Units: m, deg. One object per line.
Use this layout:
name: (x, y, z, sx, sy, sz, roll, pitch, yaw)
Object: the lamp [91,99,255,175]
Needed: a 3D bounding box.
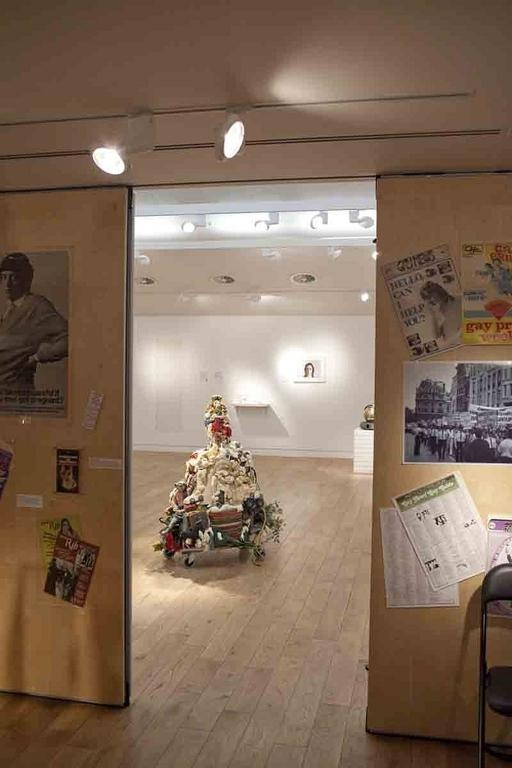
lamp: (-0.382, -0.925, 2.333, 0.665, 0.183, 0.253, 0, -17, 12)
